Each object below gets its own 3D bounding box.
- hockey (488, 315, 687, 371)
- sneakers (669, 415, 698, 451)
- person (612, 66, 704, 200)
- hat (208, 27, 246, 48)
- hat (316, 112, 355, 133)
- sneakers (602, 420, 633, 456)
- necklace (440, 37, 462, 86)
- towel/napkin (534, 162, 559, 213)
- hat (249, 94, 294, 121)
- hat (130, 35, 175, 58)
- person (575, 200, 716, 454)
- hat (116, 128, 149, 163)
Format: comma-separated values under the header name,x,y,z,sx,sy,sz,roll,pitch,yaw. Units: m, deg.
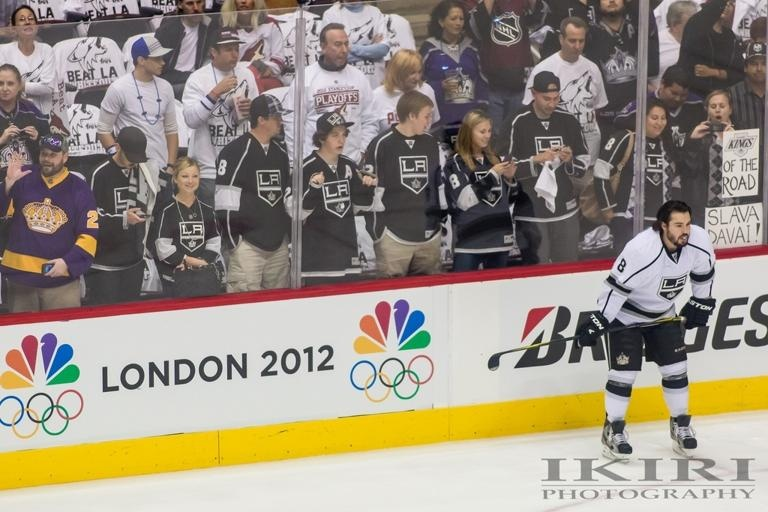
name,x,y,z,sx,sy,sz,roll,pitch,yaw
hockey,1.551,0.674,11.599,1.604,0.170,0.086,-11,39,11
sneakers,2.297,1.336,11.499,0.148,0.202,0.374,-1,14,-6
person,2.144,-1.008,11.868,0.671,1.287,0.441,-19,25,-26
hat,-1.182,-1.616,11.131,0.174,0.085,0.129,-10,5,27
hat,-0.396,-1.020,11.386,0.191,0.095,0.139,-18,3,21
sneakers,1.787,1.390,11.439,0.152,0.273,0.421,2,10,-12
necklace,0.509,-1.458,11.534,0.178,0.449,0.184,-1,0,40
towel/napkin,1.292,-0.542,11.823,0.179,0.421,0.133,4,-15,16
hat,-0.884,-1.118,11.275,0.241,0.129,0.168,-9,21,-6
hat,-1.727,-1.531,11.046,0.264,0.128,0.162,-7,24,0
person,2.033,0.566,11.439,0.999,1.940,0.467,-3,3,12
hat,-1.868,-0.821,11.108,0.206,0.270,0.158,-21,-14,-30
